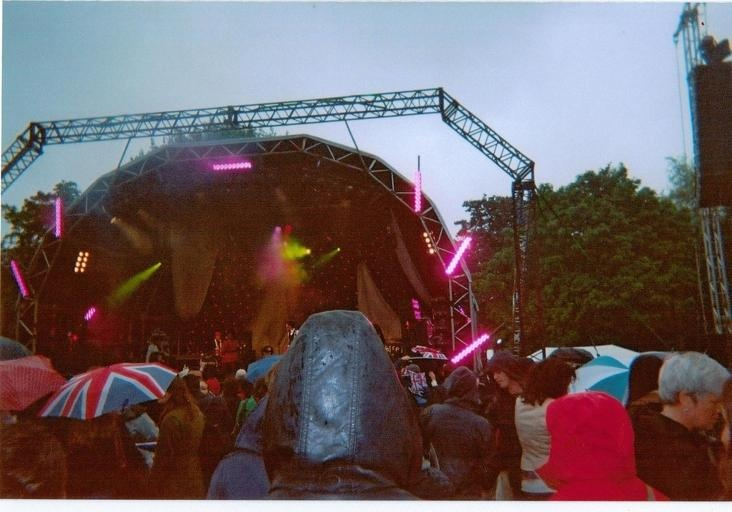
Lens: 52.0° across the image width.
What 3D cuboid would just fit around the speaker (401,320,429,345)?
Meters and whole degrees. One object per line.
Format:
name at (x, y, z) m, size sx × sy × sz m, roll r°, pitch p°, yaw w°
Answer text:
speaker at (1.349, 2.119, 20.940) m, size 0.730 × 1.120 × 0.636 m, roll -1°, pitch 0°, yaw 8°
